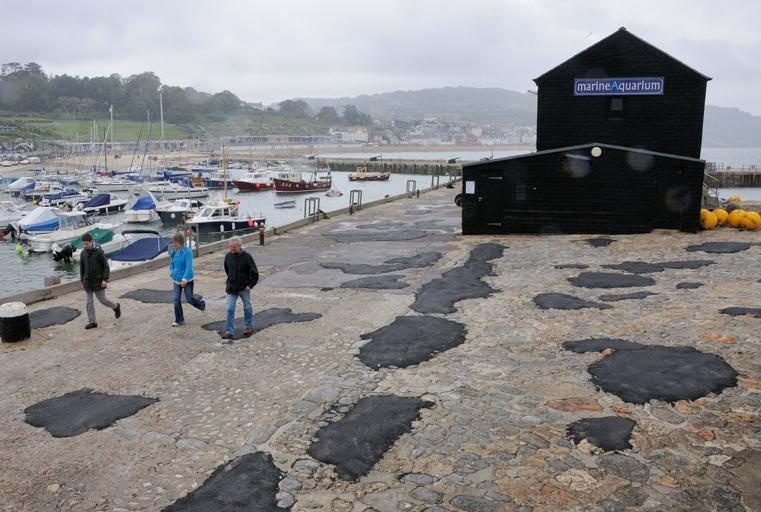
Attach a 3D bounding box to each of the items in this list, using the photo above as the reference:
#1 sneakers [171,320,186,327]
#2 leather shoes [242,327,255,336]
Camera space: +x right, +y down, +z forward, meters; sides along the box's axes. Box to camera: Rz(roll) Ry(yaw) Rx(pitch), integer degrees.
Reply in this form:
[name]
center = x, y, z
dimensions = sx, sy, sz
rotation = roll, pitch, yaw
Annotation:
[sneakers]
center = -5.174, 1.736, 13.653
dimensions = 0.142, 0.110, 0.296
rotation = 2, -4, 8
[leather shoes]
center = -3.203, 1.842, 12.953
dimensions = 0.160, 0.121, 0.346
rotation = 0, -2, 4
